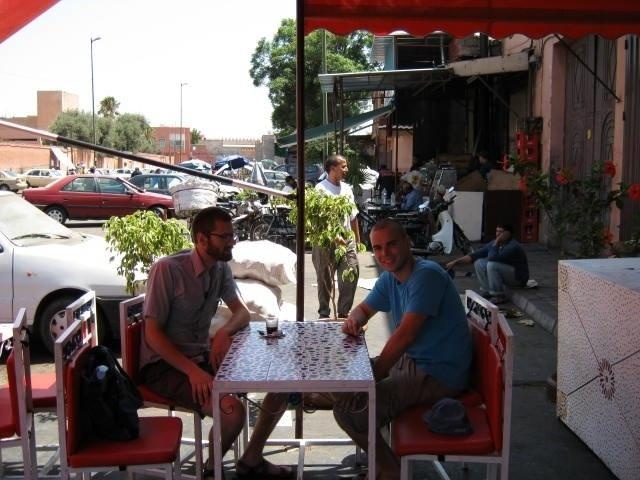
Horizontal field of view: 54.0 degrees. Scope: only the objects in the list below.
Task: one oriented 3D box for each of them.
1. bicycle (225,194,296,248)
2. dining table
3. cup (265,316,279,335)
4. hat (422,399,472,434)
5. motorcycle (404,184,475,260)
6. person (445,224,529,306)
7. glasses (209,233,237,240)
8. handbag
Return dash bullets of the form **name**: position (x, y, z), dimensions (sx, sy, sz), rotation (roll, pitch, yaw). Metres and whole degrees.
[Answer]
- **bicycle**: position (-1.346, -0.478, 14.933), dimensions (1.720, 1.293, 1.047), rotation (-1, 6, -2)
- **dining table**: position (-0.136, 1.034, 4.293), dimensions (0.986, 0.780, 1.257), rotation (-1, 4, 3)
- **cup**: position (-0.352, 0.607, 4.570), dimensions (0.087, 0.110, 0.098), rotation (0, 2, -5)
- **hat**: position (0.836, 1.098, 4.006), dimensions (0.301, 0.150, 0.407), rotation (3, 3, 7)
- **motorcycle**: position (2.400, -0.381, 13.650), dimensions (1.753, 1.439, 0.791), rotation (-1, 8, 30)
- **person**: position (2.651, 0.328, 9.948), dimensions (1.193, 1.272, 0.914), rotation (3, 4, 18)
- **glasses**: position (-0.686, -0.027, 4.477), dimensions (0.206, 0.066, 0.072), rotation (-5, 5, -44)
- **handbag**: position (-1.301, 0.968, 3.988), dimensions (0.322, 0.570, 0.444), rotation (-4, 4, -27)
